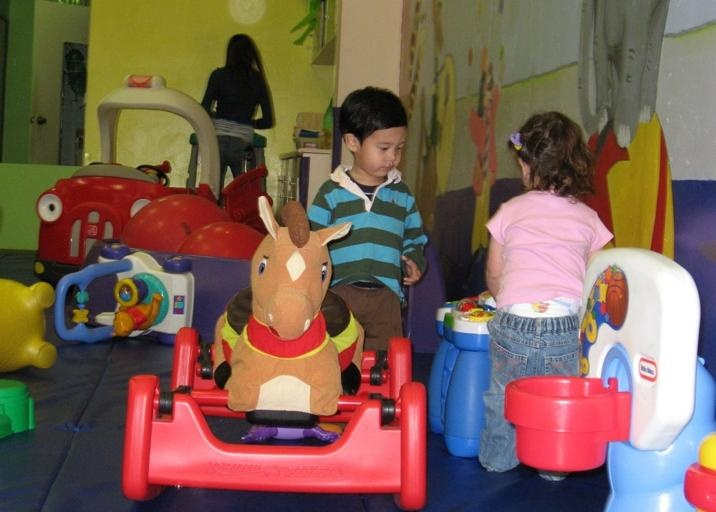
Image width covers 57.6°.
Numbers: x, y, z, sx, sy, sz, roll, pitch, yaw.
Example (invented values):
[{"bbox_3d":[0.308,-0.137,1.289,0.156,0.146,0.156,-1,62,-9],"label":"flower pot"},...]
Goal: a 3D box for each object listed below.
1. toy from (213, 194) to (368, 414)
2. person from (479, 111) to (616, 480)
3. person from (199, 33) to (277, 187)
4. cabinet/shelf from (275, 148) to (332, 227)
[{"bbox_3d":[-0.151,0.088,1.475,0.331,0.472,0.449,4,19,-7],"label":"toy"},{"bbox_3d":[0.443,0.084,1.562,0.282,0.856,0.226,6,9,22],"label":"person"},{"bbox_3d":[-0.759,-0.921,3.995,0.343,0.936,0.659,6,9,21],"label":"person"},{"bbox_3d":[-0.427,-0.485,4.583,0.190,0.500,0.613,2,7,-23],"label":"cabinet/shelf"}]
